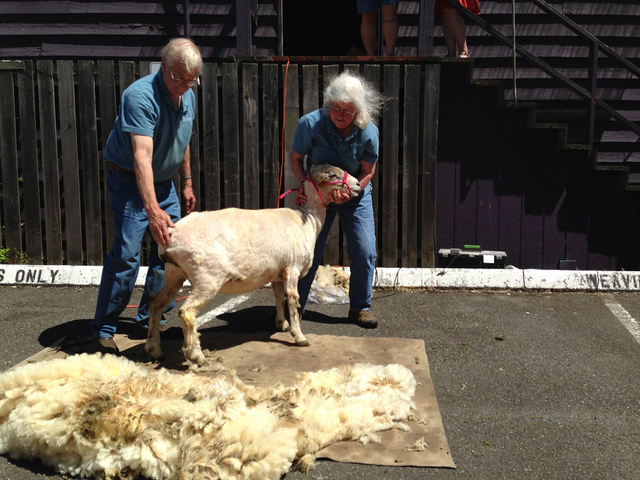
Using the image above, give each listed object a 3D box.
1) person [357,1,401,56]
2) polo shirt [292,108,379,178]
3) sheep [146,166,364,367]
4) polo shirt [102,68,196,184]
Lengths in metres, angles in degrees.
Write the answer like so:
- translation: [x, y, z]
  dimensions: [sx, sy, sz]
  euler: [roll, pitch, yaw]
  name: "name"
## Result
- translation: [0.887, -3.293, 9.905]
  dimensions: [0.629, 0.809, 1.781]
  euler: [4, 16, 5]
  name: "person"
- translation: [0.178, -1.215, 7.158]
  dimensions: [0.907, 0.635, 0.817]
  euler: [3, -25, -5]
  name: "polo shirt"
- translation: [-0.671, 0.350, 6.832]
  dimensions: [1.643, 1.581, 0.551]
  euler: [-7, 9, -38]
  name: "sheep"
- translation: [-1.634, -1.264, 6.476]
  dimensions: [0.634, 1.058, 1.041]
  euler: [28, 29, 19]
  name: "polo shirt"
